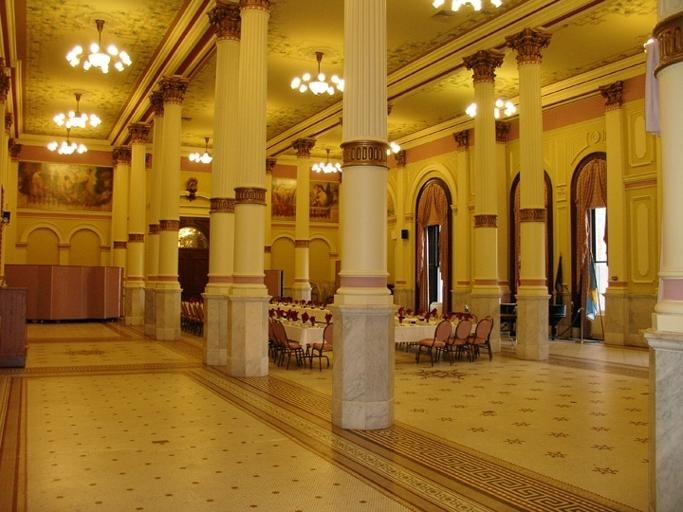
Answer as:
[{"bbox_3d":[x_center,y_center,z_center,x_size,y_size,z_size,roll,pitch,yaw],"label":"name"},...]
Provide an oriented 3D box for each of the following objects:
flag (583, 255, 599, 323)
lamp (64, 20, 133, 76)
[{"bbox_3d":[7.501,0.942,14.833,0.574,1.886,0.309,4,-4,-43],"label":"flag"},{"bbox_3d":[-5.963,-5.184,12.253,1.219,0.835,1.258,-4,-12,22],"label":"lamp"}]
